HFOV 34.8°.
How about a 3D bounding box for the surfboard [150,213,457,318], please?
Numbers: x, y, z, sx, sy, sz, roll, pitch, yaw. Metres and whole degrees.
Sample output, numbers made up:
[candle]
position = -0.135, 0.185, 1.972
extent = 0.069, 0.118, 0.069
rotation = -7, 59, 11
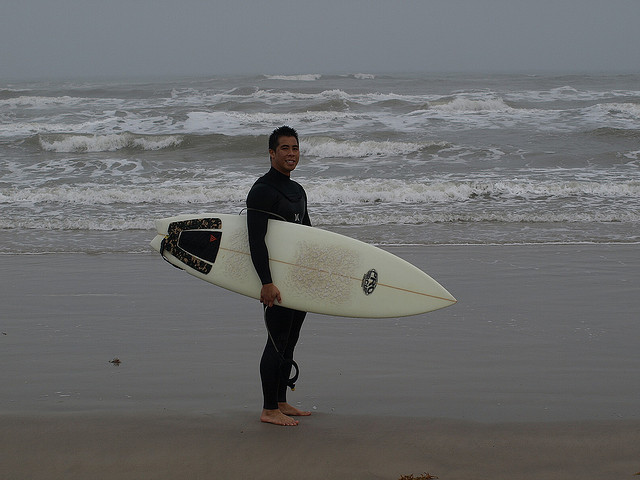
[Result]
[surfboard]
position = -0.187, 0.263, 10.431
extent = 3.618, 0.799, 0.167
rotation = 13, 10, 27
